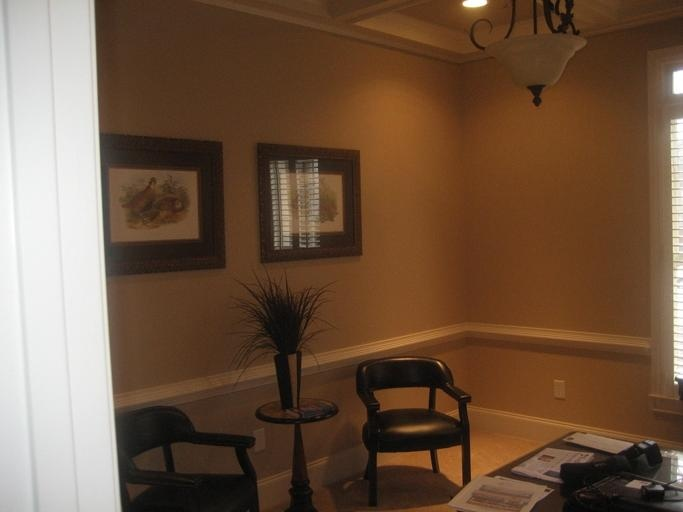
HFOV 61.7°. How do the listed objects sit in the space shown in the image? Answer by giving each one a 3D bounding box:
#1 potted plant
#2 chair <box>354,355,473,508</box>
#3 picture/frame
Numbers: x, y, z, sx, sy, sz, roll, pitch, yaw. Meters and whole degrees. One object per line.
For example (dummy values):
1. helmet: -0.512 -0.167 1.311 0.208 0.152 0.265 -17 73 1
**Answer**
1. potted plant: -0.262 0.442 3.382 0.509 0.757 0.676 -2 -3 33
2. chair: 0.367 1.055 3.642 0.712 0.882 0.755 0 -5 -13
3. picture/frame: -0.541 -0.306 3.256 1.629 0.800 0.127 0 -5 -41
